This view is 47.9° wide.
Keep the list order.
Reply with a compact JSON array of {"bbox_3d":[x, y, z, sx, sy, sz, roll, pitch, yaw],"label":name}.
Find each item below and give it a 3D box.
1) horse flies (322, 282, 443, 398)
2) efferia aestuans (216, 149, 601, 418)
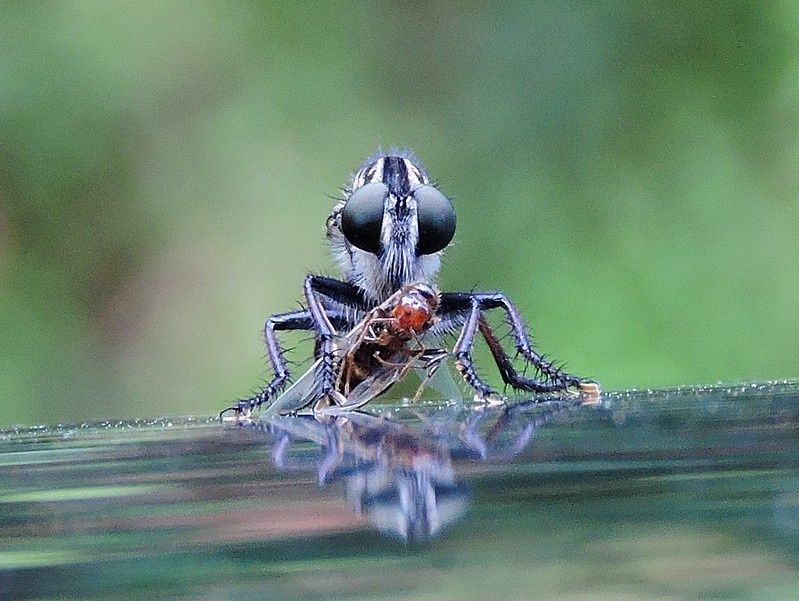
[{"bbox_3d":[-0.065,0.094,3.150,0.317,0.334,0.416,-3,-86,-22],"label":"horse flies"},{"bbox_3d":[0.029,-0.104,3.264,0.984,0.944,1.136,1,-88,-15],"label":"efferia aestuans"}]
